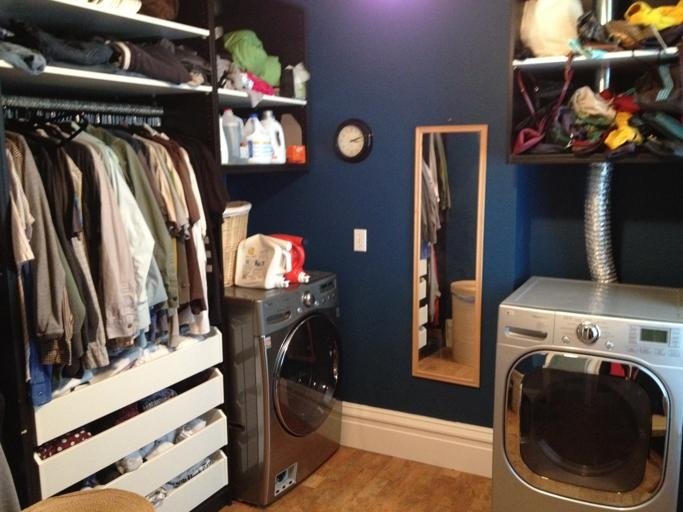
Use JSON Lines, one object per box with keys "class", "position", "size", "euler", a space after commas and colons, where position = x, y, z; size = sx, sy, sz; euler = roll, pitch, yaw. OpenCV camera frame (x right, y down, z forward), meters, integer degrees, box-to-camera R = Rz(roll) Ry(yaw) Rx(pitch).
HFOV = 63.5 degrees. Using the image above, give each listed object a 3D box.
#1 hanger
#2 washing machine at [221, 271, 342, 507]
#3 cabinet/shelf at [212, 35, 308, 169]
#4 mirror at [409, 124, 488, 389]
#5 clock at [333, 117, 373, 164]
{"class": "hanger", "position": [-1.181, -0.652, 2.516], "size": [0.168, 0.102, 1.077], "euler": [0, 7, 30]}
{"class": "washing machine", "position": [-0.301, 0.732, 3.104], "size": [0.753, 1.143, 0.274], "euler": [-14, 15, -42]}
{"class": "cabinet/shelf", "position": [-0.471, -0.890, 3.124], "size": [0.379, 0.756, 0.740], "euler": [5, 12, 25]}
{"class": "mirror", "position": [0.605, -0.015, 3.154], "size": [0.401, 1.492, 0.033], "euler": [2, 1, 18]}
{"class": "clock", "position": [0.063, -0.699, 3.343], "size": [0.241, 0.271, 0.080], "euler": [7, 7, 19]}
